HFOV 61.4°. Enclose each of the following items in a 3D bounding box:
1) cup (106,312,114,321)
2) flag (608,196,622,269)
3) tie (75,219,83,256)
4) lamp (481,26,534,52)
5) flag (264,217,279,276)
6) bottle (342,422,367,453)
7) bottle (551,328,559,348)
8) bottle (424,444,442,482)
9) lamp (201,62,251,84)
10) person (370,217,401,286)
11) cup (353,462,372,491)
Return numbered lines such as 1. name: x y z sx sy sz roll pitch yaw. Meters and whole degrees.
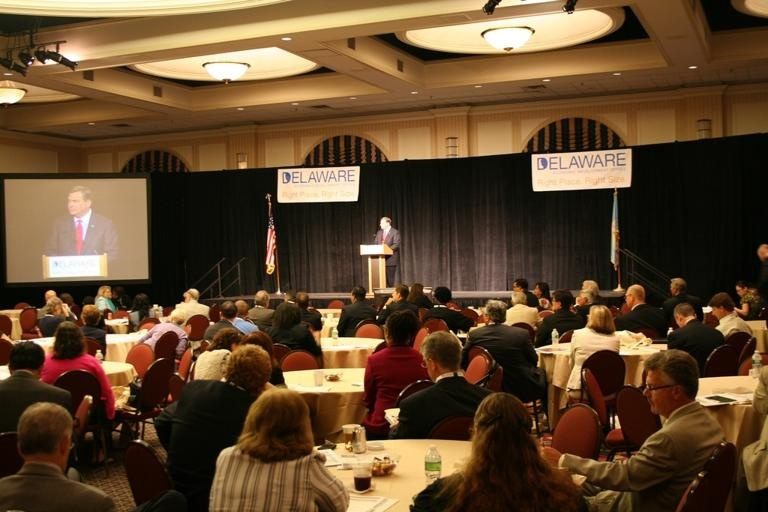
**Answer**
1. cup: -5.069 1.119 11.947 0.114 0.104 0.112 2 4 0
2. flag: 5.112 -0.605 14.258 0.211 1.795 0.916 -1 -2 20
3. tie: -7.245 -0.435 15.326 0.183 0.801 0.071 0 -2 -21
4. lamp: 2.179 -3.847 11.340 0.881 0.372 0.549 -1 -2 13
5. flag: -2.848 -0.256 16.261 0.301 1.422 1.887 0 -2 -10
6. bottle: -0.214 1.331 4.706 0.162 0.163 0.194 0 -7 -5
7. bottle: 2.160 1.032 8.135 0.153 0.264 0.154 -2 0 0
8. bottle: 0.316 1.340 4.142 0.111 0.257 0.103 -1 -2 0
9. lamp: -3.114 -3.688 12.782 0.832 0.320 0.516 -1 -2 2
10. person: 0.088 -0.098 14.685 0.533 1.629 1.462 -1 -2 -1
11. cup: -0.141 1.435 4.221 0.140 0.153 0.141 -1 -2 0
